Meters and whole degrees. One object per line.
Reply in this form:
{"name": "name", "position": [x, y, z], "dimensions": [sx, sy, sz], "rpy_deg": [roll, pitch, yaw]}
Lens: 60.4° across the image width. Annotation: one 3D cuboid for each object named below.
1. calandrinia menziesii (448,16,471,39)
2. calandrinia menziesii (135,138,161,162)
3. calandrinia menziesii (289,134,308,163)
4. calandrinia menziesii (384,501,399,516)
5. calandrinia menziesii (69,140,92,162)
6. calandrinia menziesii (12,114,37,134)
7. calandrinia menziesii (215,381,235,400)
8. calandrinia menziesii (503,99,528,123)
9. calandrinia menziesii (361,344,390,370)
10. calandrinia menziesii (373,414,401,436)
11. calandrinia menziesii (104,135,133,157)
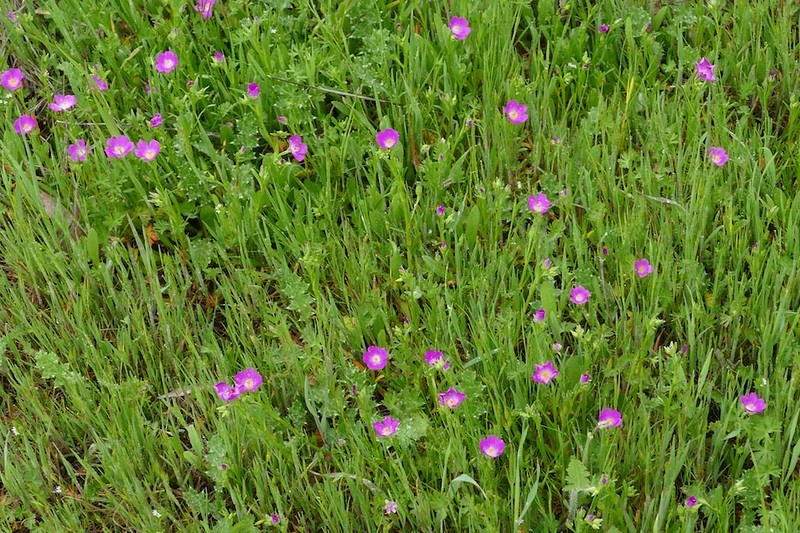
{"name": "calandrinia menziesii", "position": [0.302, -1.261, 3.616], "dimensions": [0.108, 0.090, 0.114], "rpy_deg": [4, 37, 15]}
{"name": "calandrinia menziesii", "position": [-1.244, -0.570, 3.384], "dimensions": [0.106, 0.052, 0.131], "rpy_deg": [-13, 77, 5]}
{"name": "calandrinia menziesii", "position": [-0.526, -0.616, 3.534], "dimensions": [0.095, 0.135, 0.088], "rpy_deg": [-21, 36, -20]}
{"name": "calandrinia menziesii", "position": [-0.042, 0.976, 2.782], "dimensions": [0.050, 0.060, 0.029], "rpy_deg": [-19, 11, 18]}
{"name": "calandrinia menziesii", "position": [-1.624, -0.581, 3.470], "dimensions": [0.109, 0.091, 0.079], "rpy_deg": [-19, 37, -16]}
{"name": "calandrinia menziesii", "position": [-1.961, -0.727, 3.594], "dimensions": [0.105, 0.131, 0.046], "rpy_deg": [2, 1, -12]}
{"name": "calandrinia menziesii", "position": [-0.716, 0.509, 2.798], "dimensions": [0.092, 0.044, 0.098], "rpy_deg": [6, 77, -7]}
{"name": "calandrinia menziesii", "position": [0.581, -0.786, 3.451], "dimensions": [0.125, 0.107, 0.101], "rpy_deg": [-8, 35, -1]}
{"name": "calandrinia menziesii", "position": [-0.106, 0.415, 3.025], "dimensions": [0.105, 0.124, 0.095], "rpy_deg": [-8, 34, -2]}
{"name": "calandrinia menziesii", "position": [-0.052, 0.663, 2.814], "dimensions": [0.111, 0.066, 0.075], "rpy_deg": [-22, 38, -18]}
{"name": "calandrinia menziesii", "position": [-1.392, -0.601, 3.412], "dimensions": [0.132, 0.079, 0.097], "rpy_deg": [-1, 36, 8]}
